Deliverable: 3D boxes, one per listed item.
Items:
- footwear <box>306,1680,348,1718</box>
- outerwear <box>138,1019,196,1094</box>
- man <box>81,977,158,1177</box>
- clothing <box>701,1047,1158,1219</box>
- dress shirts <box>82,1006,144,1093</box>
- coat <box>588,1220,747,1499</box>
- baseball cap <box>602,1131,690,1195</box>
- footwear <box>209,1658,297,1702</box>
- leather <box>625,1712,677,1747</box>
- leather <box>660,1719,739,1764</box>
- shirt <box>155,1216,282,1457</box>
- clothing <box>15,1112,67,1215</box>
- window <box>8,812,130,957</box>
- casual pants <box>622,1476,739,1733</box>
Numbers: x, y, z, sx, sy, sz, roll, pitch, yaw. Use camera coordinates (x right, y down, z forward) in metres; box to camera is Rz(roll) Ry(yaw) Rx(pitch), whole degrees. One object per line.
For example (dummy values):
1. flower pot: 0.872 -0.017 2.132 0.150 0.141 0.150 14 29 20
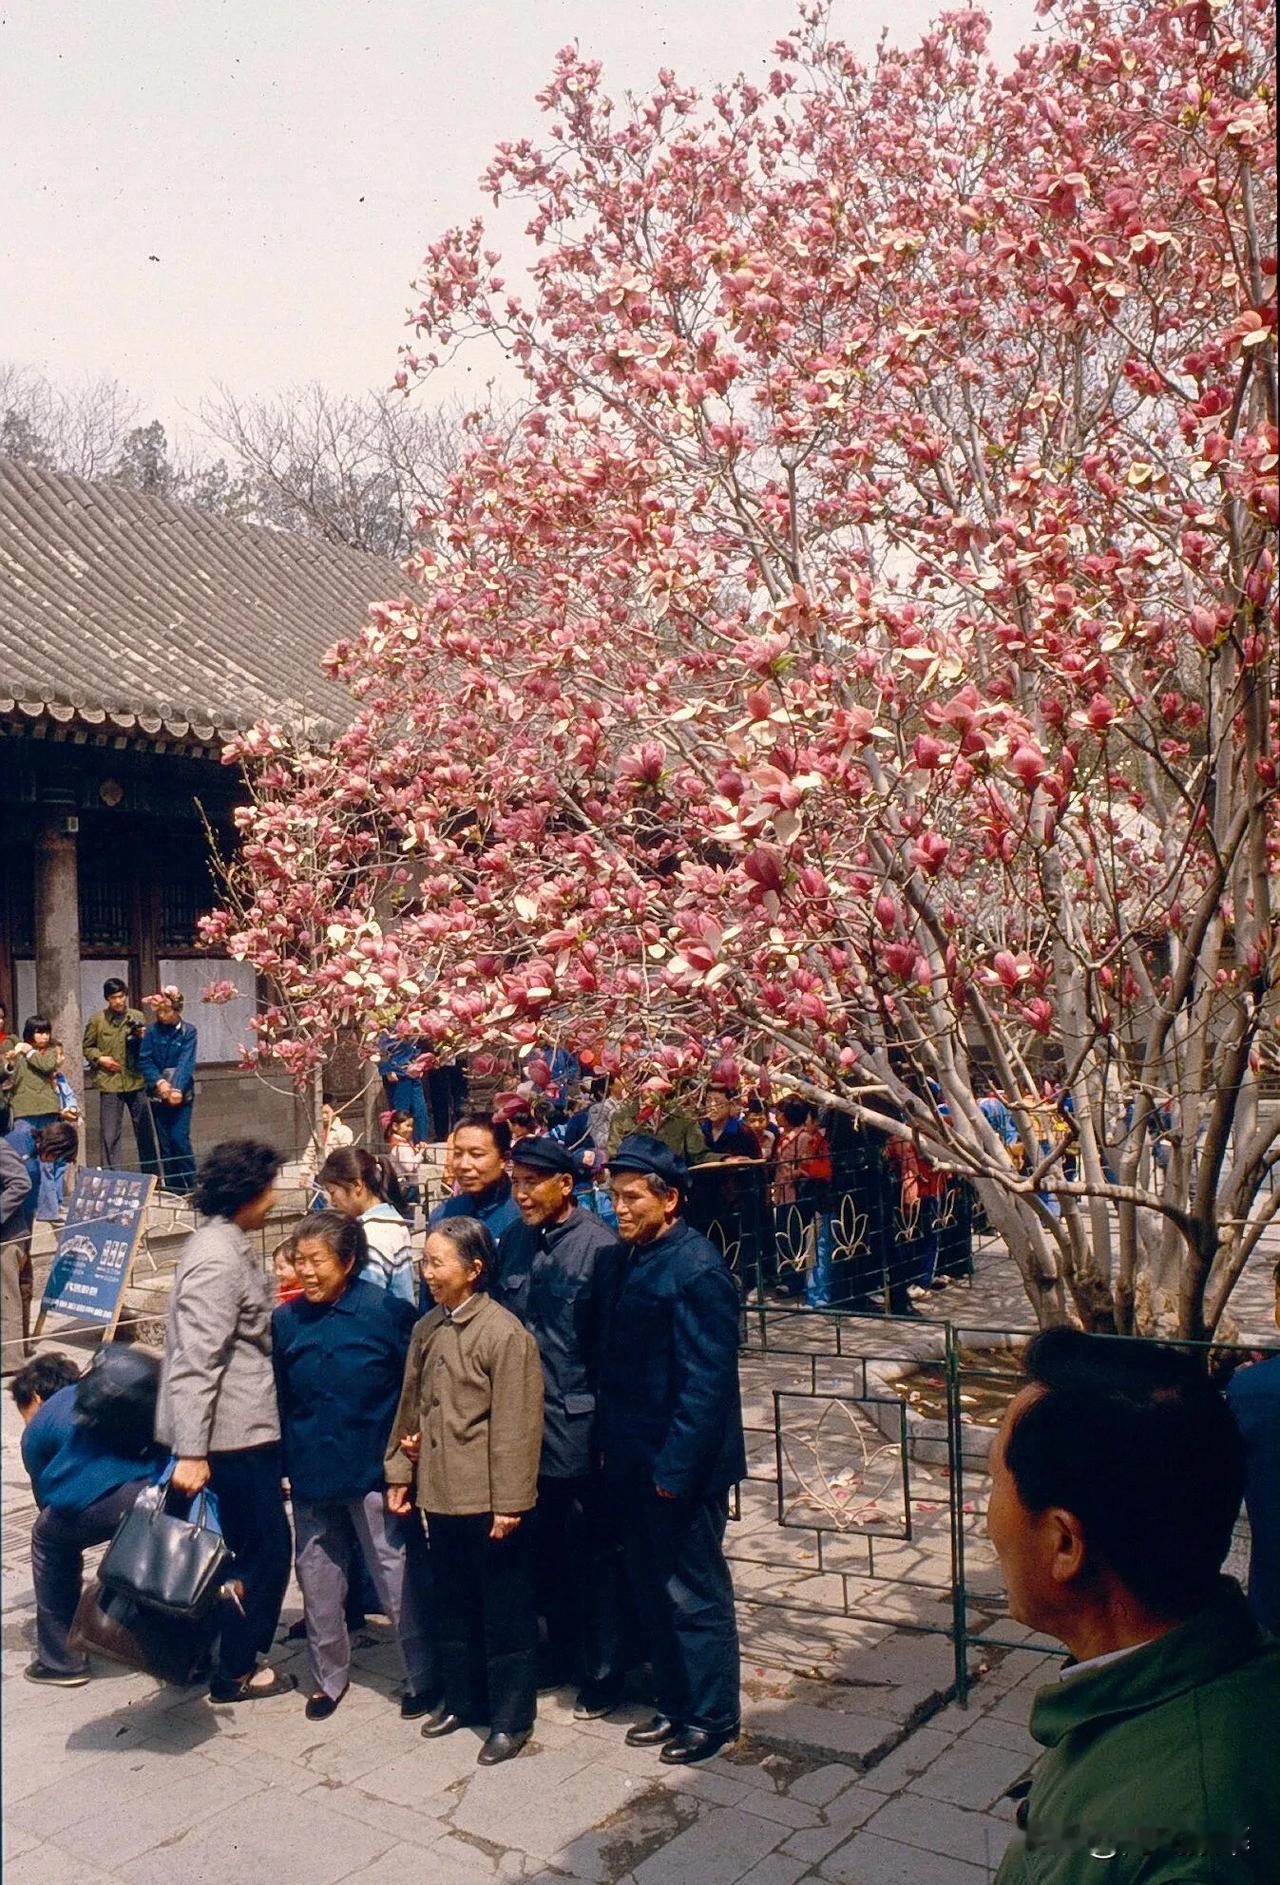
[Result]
1. footwear: -0.948 2.255 5.124 0.100 0.087 0.176 -3 -1 0
2. outerwear: -3.291 0.815 11.950 0.373 0.522 0.378 -4 0 -15
3. man: -3.693 0.989 12.201 0.540 1.430 0.496 -3 2 -25
4. clothing: 1.009 0.734 6.616 1.282 0.251 1.144 6 -6 34
5. dress shirts: -3.711 0.760 12.177 0.420 0.592 0.320 -3 0 -26
6. coat: 0.061 1.211 4.927 0.506 0.787 0.790 4 -13 -21
7. baseball cap: 0.036 0.645 5.066 0.235 0.087 0.161 27 -19 -28
8. footwear: -1.184 2.253 5.282 0.274 0.115 0.094 0 -1 -17
9. leather: 0.029 2.204 4.788 0.057 0.055 0.143 -10 -23 34
10. leather: 0.152 2.182 4.699 0.228 0.083 0.080 8 -12 -27
11. shirt: -1.287 1.203 5.169 0.226 0.685 0.458 -4 0 21
12. clothing: -3.412 1.272 9.759 0.242 0.653 0.279 16 38 -3
13. window: -4.420 -0.475 13.148 0.092 1.072 1.008 -7 -16 25
14. casual pants: 0.135 1.859 4.840 0.258 0.661 0.364 -4 0 -19
